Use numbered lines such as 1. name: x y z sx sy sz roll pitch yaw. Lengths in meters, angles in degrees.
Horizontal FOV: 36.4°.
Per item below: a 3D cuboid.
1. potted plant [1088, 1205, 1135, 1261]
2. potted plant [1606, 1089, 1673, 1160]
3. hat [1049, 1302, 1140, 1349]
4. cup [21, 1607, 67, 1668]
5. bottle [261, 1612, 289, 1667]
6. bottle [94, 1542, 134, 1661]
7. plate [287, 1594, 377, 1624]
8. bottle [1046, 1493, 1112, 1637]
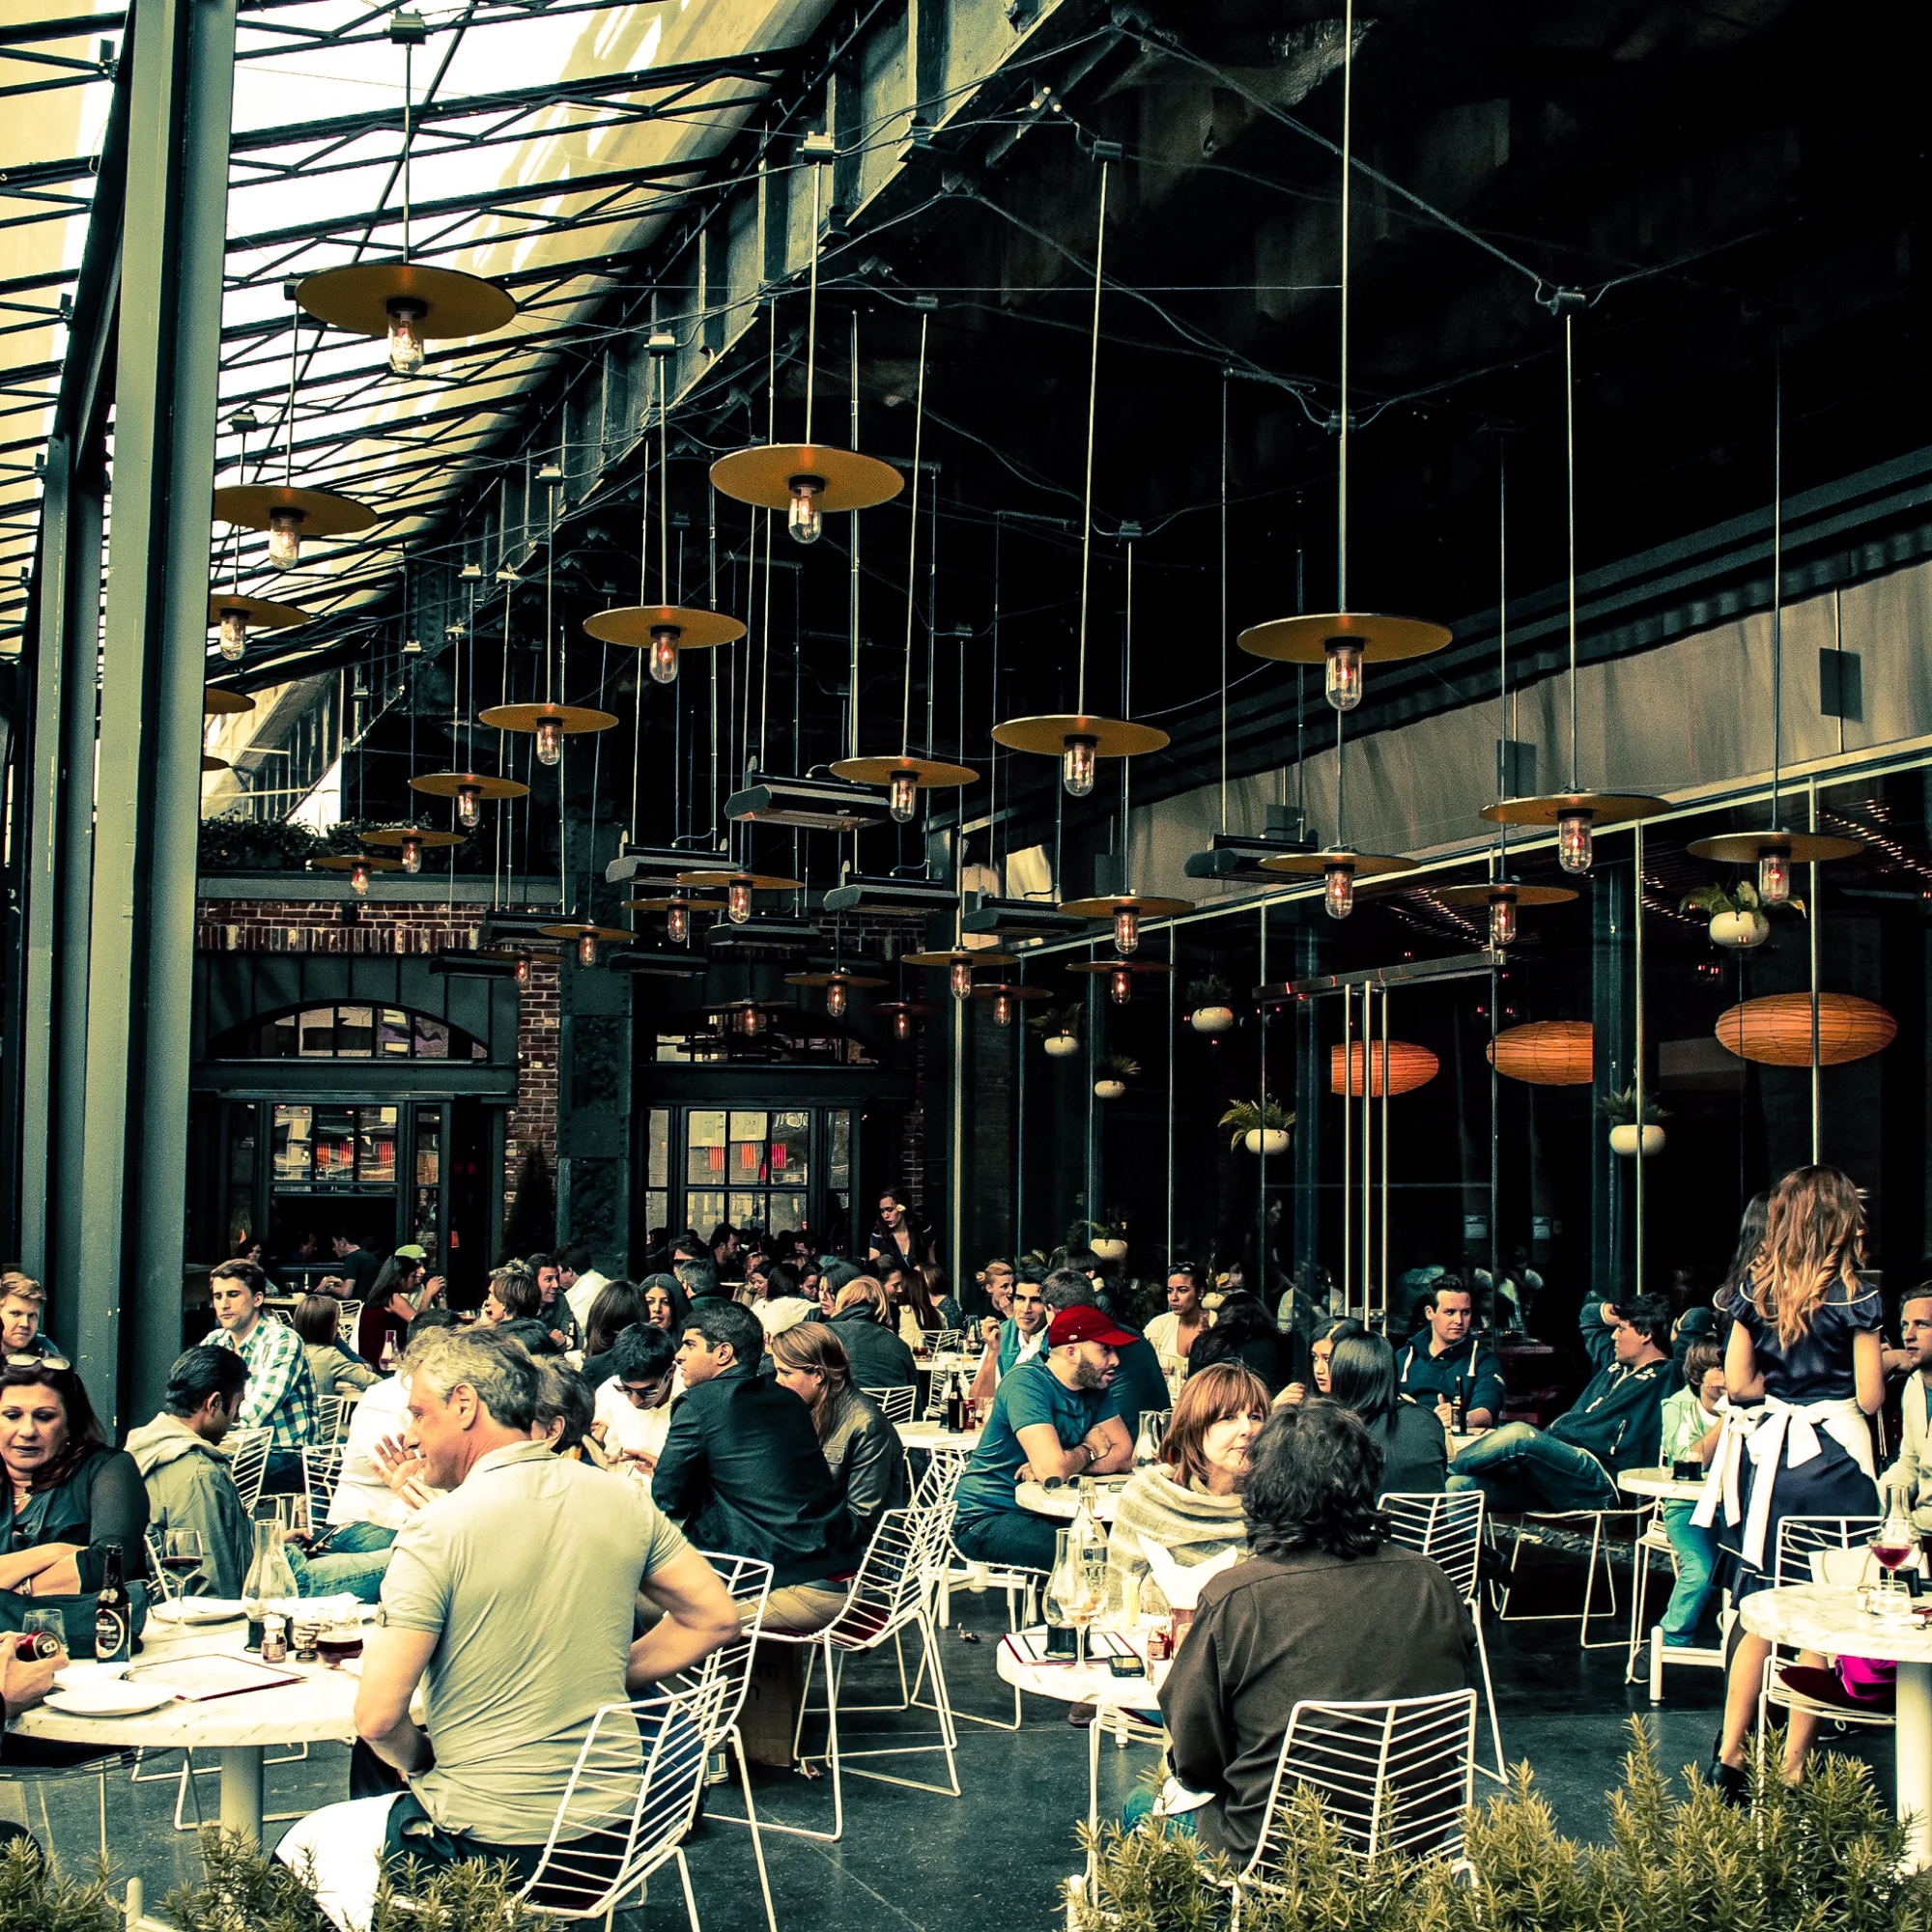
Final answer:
1. potted plant: 1.052 1.957 20.995 0.406 0.324 0.276 1 -7 4
2. potted plant: 3.364 0.796 14.662 0.335 0.376 0.305 0 3 12
3. hat: 0.504 1.385 11.229 0.293 0.134 0.173 3 1 -9
4. cup: -2.368 1.741 7.559 0.120 0.150 0.122 -2 -2 0
5. bottle: -1.876 1.840 7.994 0.075 0.110 0.159 1 -7 -14
6. bottle: -2.316 1.742 7.992 0.116 0.279 0.239 2 -7 -16
7. plate: -1.798 1.839 8.326 0.160 0.033 0.154 3 -4 -23
8. bottle: 0.325 1.722 8.273 0.160 0.328 0.297 -1 -7 3
